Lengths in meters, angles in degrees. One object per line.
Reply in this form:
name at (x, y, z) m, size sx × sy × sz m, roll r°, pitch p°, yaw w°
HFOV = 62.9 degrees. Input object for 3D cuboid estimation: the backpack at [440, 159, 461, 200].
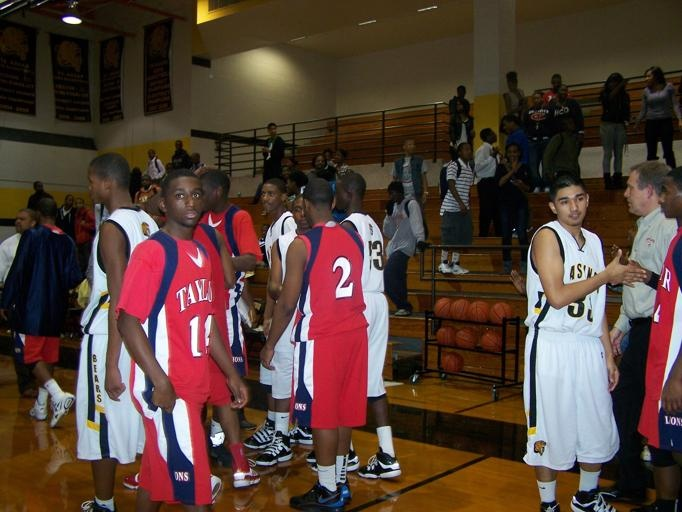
backpack at (1.611, -1.128, 8.151) m, size 0.272 × 0.592 × 0.368 m, roll 0°, pitch 3°, yaw 0°

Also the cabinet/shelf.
cabinet/shelf at (1.520, 1.120, 6.602) m, size 1.132 × 0.906 × 0.865 m, roll 0°, pitch -4°, yaw 43°

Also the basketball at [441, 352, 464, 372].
basketball at (1.336, 1.271, 6.698) m, size 0.202 × 0.230 × 0.216 m, roll 4°, pitch 7°, yaw 13°

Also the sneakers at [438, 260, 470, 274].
sneakers at (1.641, 0.155, 8.124) m, size 0.493 × 0.240 × 0.173 m, roll 1°, pitch 0°, yaw 10°

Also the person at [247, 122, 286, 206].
person at (-1.571, -1.960, 12.283) m, size 0.505 × 1.873 × 0.434 m, roll 12°, pitch 13°, yaw 40°
